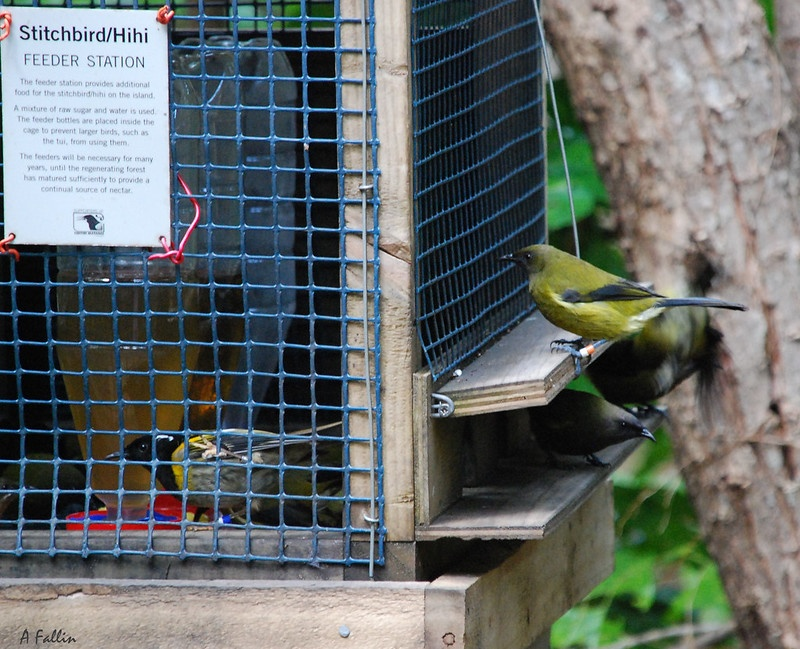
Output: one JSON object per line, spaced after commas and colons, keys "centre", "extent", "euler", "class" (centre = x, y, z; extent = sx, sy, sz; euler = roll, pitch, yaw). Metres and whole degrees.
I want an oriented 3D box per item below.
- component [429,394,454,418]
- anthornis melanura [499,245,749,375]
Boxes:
{"centre": [0.093, 0.165, 3.795], "extent": [0.051, 0.052, 0.024], "euler": [2, -3, 2], "class": "component"}
{"centre": [0.585, -0.059, 4.342], "extent": [0.672, 0.346, 0.263], "euler": [3, 3, 2], "class": "anthornis melanura"}
